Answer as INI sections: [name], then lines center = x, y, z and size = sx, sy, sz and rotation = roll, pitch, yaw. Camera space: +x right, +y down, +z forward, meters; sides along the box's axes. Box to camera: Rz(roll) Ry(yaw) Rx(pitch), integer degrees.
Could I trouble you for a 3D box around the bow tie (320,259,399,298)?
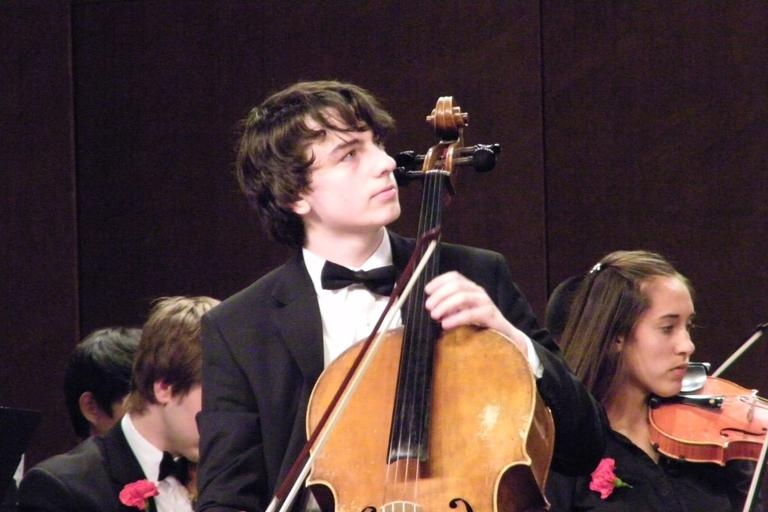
[bow tie]
center = -0.109, 0.095, 3.914
size = 0.289, 0.128, 0.066
rotation = 3, 12, -8
